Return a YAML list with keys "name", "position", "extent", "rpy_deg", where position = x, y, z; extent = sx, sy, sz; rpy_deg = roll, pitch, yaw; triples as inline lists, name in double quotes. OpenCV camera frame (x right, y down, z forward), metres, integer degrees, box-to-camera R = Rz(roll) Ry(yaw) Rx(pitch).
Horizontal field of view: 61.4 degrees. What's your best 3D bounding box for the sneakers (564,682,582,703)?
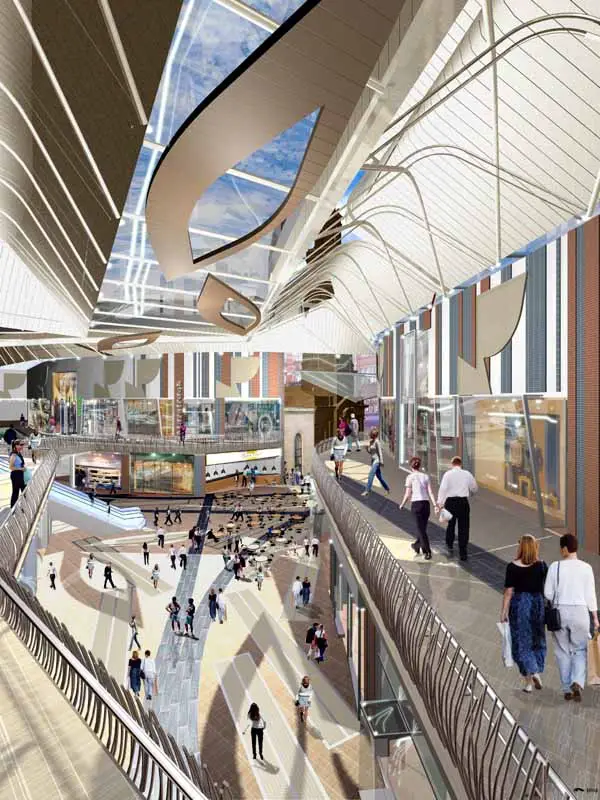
- name: "sneakers"
  position: [2.309, 2.482, 4.250]
  extent: [0.075, 0.251, 0.095]
  rpy_deg: [-8, -6, 19]
